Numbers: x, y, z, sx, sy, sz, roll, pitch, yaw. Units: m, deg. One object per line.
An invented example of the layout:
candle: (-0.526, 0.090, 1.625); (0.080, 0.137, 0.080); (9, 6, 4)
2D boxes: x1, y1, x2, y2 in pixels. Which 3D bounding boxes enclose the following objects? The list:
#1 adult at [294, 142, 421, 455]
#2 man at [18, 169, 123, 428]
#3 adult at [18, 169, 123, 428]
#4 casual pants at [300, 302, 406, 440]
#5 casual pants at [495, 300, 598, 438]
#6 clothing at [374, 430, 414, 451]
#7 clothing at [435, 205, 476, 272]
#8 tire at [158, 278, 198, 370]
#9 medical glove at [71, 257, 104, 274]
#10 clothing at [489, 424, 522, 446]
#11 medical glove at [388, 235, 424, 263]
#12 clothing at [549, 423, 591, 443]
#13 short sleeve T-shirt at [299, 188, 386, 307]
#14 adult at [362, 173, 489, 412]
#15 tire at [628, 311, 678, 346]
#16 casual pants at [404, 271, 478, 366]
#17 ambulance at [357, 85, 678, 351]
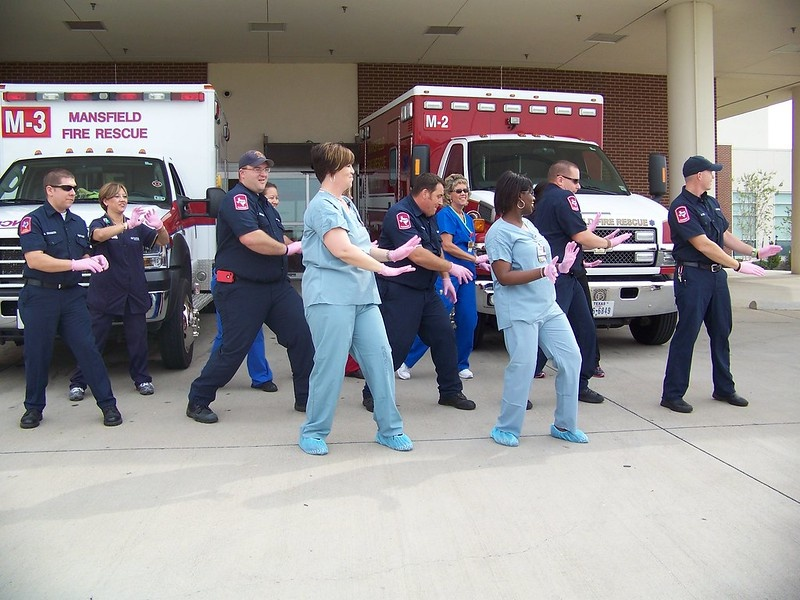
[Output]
adult: (-0.266, -0.037, 4.531); (0.893, 2.194, 0.811); (1, 1, -11)
man: (-2.795, -0.012, 5.115); (0.863, 2.149, 0.605); (-1, 8, -4)
adult: (-2.795, -0.012, 5.113); (0.863, 2.149, 0.608); (-1, 8, -4)
casual pants: (-0.359, 0.468, 4.592); (0.746, 1.097, 0.499); (0, 3, -15)
casual pants: (1.076, 0.390, 4.783); (0.721, 1.466, 0.473); (-1, 7, 1)
clothing: (-0.046, 1.087, 4.738); (0.287, 0.117, 0.113); (-2, 2, 34)
clothing: (0.603, -0.681, 6.460); (0.304, 0.618, 0.529); (7, 10, 38)
tire: (-2.443, 0.261, 6.745); (0.361, 1.067, 1.060); (1, 0, -6)
medical glove: (-2.507, -0.286, 4.957); (0.250, 0.152, 0.381); (-4, 9, -27)
clothing: (0.811, 1.058, 4.768); (0.115, 0.077, 0.197); (-4, 1, -39)
medical glove: (0.018, -0.363, 4.276); (0.191, 0.167, 0.288); (-2, 9, -11)
clothing: (1.345, 1.043, 4.847); (0.243, 0.098, 0.128); (1, 7, 28)
short sleeve T-shirt: (-0.481, -0.249, 4.742); (0.666, 1.102, 1.002); (-1, -1, 10)
adult: (0.167, -0.050, 5.474); (1.094, 2.137, 0.839); (3, 11, 15)
tire: (3.223, 0.348, 7.783); (0.196, 0.555, 0.476); (0, 6, -23)
casual pants: (0.514, 0.099, 6.377); (0.556, 1.165, 0.265); (9, -4, -17)
ambulance: (1.497, -1.538, 10.087); (3.397, 3.699, 6.804); (0, 5, -10)
